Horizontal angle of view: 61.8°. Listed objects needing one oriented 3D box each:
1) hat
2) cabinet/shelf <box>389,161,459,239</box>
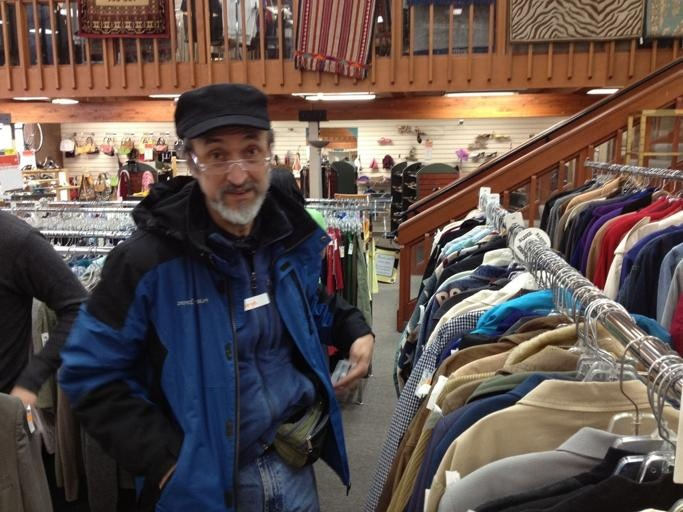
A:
[{"bbox_3d":[-0.375,-0.466,1.801,0.302,0.140,0.420,-9,15,-21],"label":"hat"},{"bbox_3d":[1.061,-0.766,7.586,0.485,1.409,1.357,1,9,-4],"label":"cabinet/shelf"}]
